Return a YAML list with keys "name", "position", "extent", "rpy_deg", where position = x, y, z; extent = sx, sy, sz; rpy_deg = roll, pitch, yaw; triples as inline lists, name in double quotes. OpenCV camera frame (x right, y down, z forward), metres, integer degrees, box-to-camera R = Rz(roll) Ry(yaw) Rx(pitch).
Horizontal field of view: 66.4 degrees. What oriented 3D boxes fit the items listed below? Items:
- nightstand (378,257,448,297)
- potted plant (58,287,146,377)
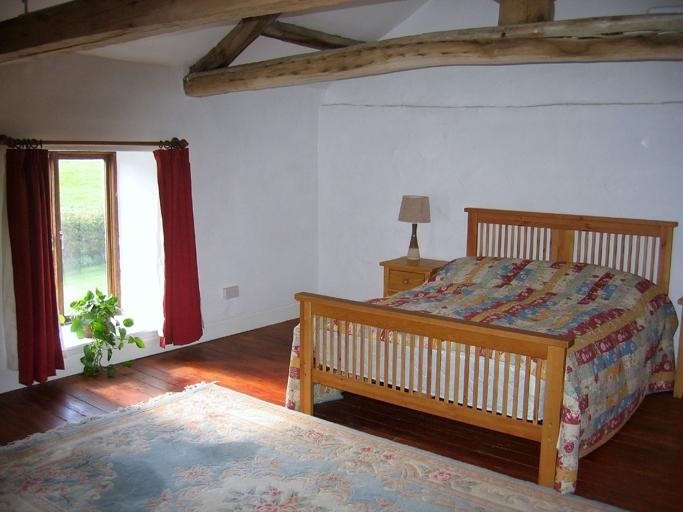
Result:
- name: "nightstand"
  position: [0.731, 0.141, 5.554]
  extent: [0.512, 0.628, 0.444]
  rpy_deg: [9, 11, 38]
- name: "potted plant"
  position: [-2.230, 0.673, 4.901]
  extent: [0.521, 0.737, 0.597]
  rpy_deg: [5, 11, 22]
